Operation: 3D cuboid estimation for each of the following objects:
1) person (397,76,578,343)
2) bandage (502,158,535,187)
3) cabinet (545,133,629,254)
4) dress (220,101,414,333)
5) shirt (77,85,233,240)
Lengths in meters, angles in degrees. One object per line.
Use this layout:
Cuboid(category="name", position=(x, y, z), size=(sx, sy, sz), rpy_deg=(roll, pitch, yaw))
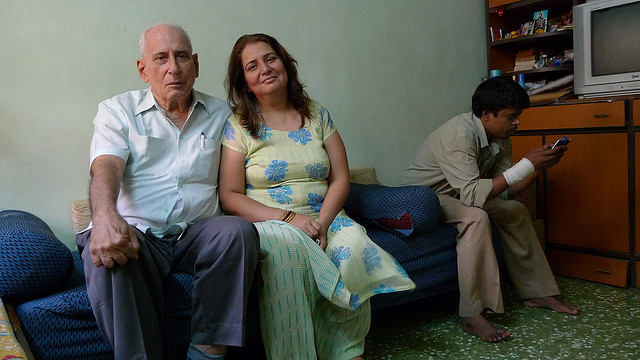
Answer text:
Cuboid(category="person", position=(1.117, 0.153, 3.094), size=(1.256, 1.658, 0.948), rpy_deg=(2, 7, 40))
Cuboid(category="bandage", position=(1.336, -0.055, 2.993), size=(0.218, 0.147, 0.111), rpy_deg=(-33, -17, 3))
Cuboid(category="cabinet", position=(2.069, 0.112, 3.617), size=(0.632, 0.944, 0.461), rpy_deg=(3, 2, -9))
Cuboid(category="dress", position=(-0.056, 0.173, 2.897), size=(1.007, 1.418, 1.310), rpy_deg=(6, 1, 13))
Cuboid(category="shirt", position=(-1.047, -0.109, 2.734), size=(0.688, 0.969, 0.685), rpy_deg=(-1, 3, -39))
